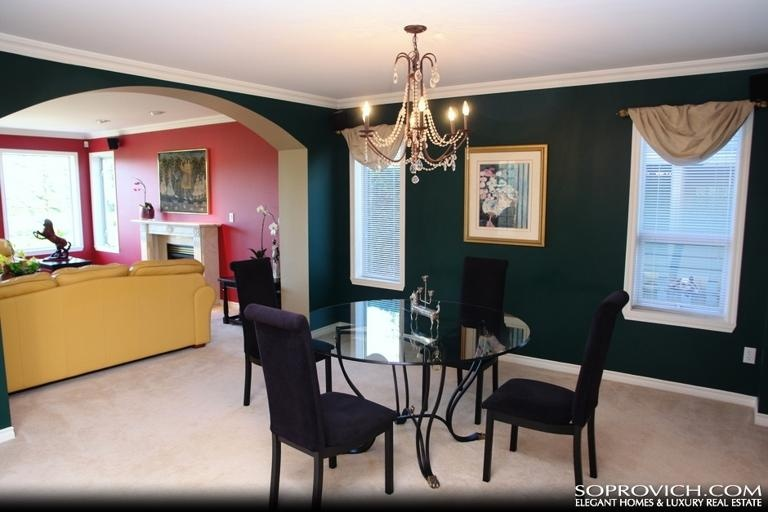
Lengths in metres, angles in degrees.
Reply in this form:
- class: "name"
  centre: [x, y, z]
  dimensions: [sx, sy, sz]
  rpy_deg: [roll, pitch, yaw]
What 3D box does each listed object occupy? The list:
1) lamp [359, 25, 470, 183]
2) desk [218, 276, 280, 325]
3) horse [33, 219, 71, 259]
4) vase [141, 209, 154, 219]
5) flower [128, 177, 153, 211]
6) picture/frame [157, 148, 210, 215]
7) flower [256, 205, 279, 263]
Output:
- class: "lamp"
  centre: [0.281, -1.346, 4.892]
  dimensions: [1.148, 1.230, 0.998]
  rpy_deg: [-2, 14, -11]
- class: "desk"
  centre: [-1.982, 0.666, 8.160]
  dimensions: [0.936, 0.796, 0.884]
  rpy_deg: [0, 6, -17]
- class: "horse"
  centre: [-5.664, -0.292, 9.499]
  dimensions: [0.407, 0.691, 0.918]
  rpy_deg: [-7, 9, -31]
- class: "vase"
  centre: [-4.057, -0.726, 9.566]
  dimensions: [0.216, 0.159, 0.075]
  rpy_deg: [-1, 9, 5]
- class: "flower"
  centre: [-4.227, -1.089, 9.758]
  dimensions: [0.171, 0.564, 0.696]
  rpy_deg: [-9, 10, -38]
- class: "picture/frame"
  centre: [-3.280, -1.226, 9.131]
  dimensions: [1.316, 1.052, 0.064]
  rpy_deg: [7, 10, 35]
- class: "flower"
  centre: [-1.665, -0.330, 8.051]
  dimensions: [0.285, 0.800, 0.736]
  rpy_deg: [-4, 8, -13]
